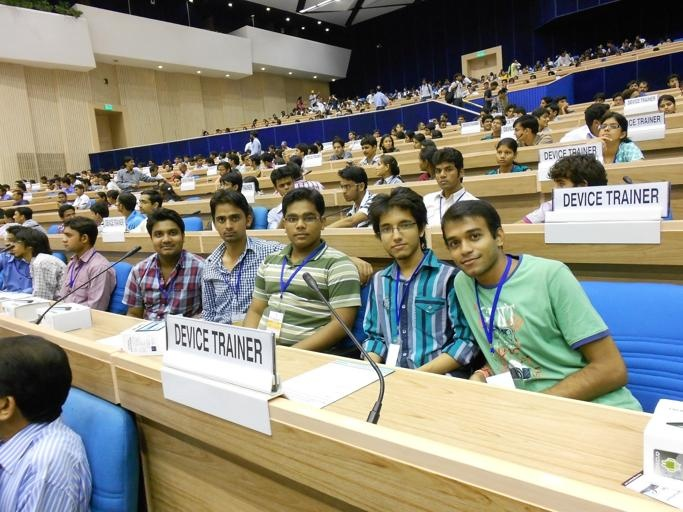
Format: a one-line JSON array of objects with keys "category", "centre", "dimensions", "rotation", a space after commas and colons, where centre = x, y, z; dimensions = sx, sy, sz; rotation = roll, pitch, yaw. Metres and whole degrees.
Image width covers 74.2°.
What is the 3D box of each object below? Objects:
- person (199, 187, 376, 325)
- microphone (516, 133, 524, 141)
[{"category": "person", "centre": [-0.481, -0.027, 3.083], "dimensions": [0.894, 1.189, 0.876], "rotation": [-1, -2, 19]}, {"category": "microphone", "centre": [2.005, -1.349, 5.137], "dimensions": [0.085, 0.073, 0.066], "rotation": [2, 32, -25]}]
